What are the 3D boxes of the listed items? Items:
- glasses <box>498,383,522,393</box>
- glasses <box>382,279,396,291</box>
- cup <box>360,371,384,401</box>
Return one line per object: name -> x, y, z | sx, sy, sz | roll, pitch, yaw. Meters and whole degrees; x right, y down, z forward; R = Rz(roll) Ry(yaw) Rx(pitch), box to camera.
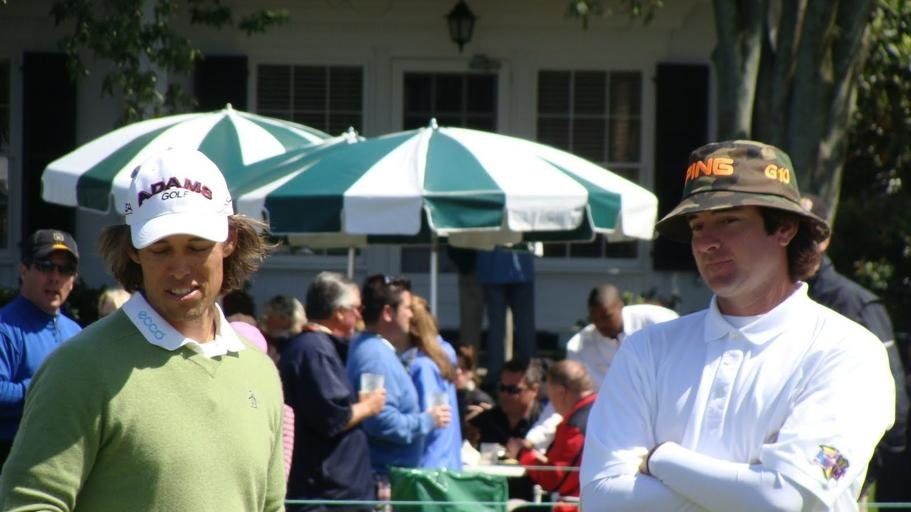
glasses -> 0.702, 1.694, 29.647 | 0.142, 0.051, 0.153 | 1, -44, 16
glasses -> -0.832, 0.341, 28.884 | 0.111, 0.141, 0.063 | 9, -36, -19
cup -> -1.042, 1.588, 28.437 | 0.295, 0.330, 0.288 | 2, -10, 0
